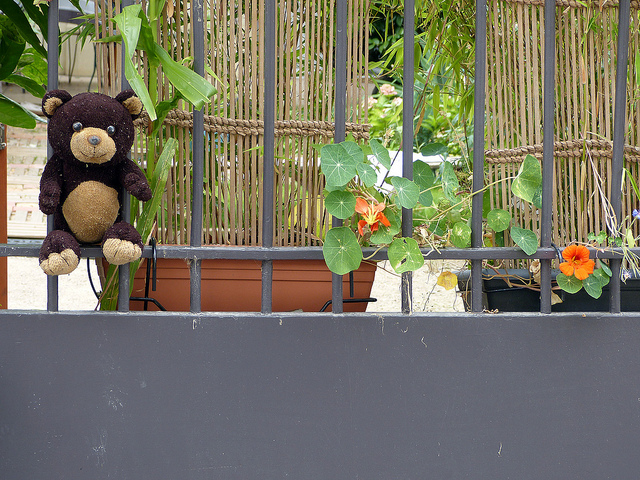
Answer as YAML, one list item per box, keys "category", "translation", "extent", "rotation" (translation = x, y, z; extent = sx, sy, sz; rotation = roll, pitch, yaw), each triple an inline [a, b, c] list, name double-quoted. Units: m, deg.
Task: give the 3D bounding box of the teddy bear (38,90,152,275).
- category: "teddy bear"
  translation: [-0.959, -0.300, 5.503]
  extent: [0.379, 0.430, 0.867]
  rotation: [-2, 104, -15]

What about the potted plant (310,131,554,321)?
- category: "potted plant"
  translation: [0.454, -0.103, 5.984]
  extent: [0.909, 0.897, 0.804]
  rotation: [0, 92, 1]

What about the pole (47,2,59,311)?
- category: "pole"
  translation: [-1.140, -0.389, 5.611]
  extent: [0.067, 0.069, 1.167]
  rotation: [6, 106, 10]
